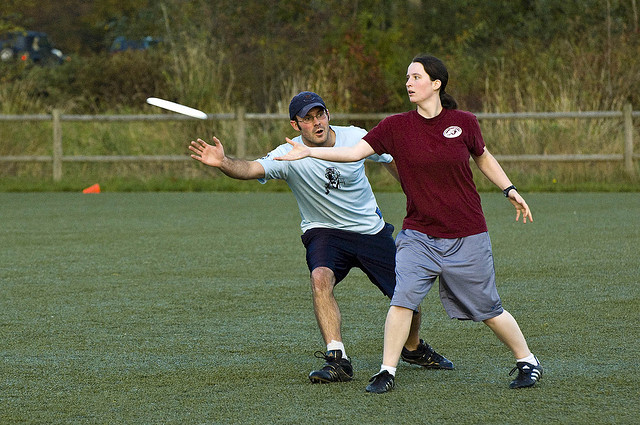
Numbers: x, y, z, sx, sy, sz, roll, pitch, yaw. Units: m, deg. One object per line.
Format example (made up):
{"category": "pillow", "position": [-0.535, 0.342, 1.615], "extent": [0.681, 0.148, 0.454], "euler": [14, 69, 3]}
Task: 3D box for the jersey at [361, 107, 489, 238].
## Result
{"category": "jersey", "position": [1.072, -0.405, 12.512], "extent": [1.255, 1.269, 0.662], "euler": [-1, 14, 8]}
